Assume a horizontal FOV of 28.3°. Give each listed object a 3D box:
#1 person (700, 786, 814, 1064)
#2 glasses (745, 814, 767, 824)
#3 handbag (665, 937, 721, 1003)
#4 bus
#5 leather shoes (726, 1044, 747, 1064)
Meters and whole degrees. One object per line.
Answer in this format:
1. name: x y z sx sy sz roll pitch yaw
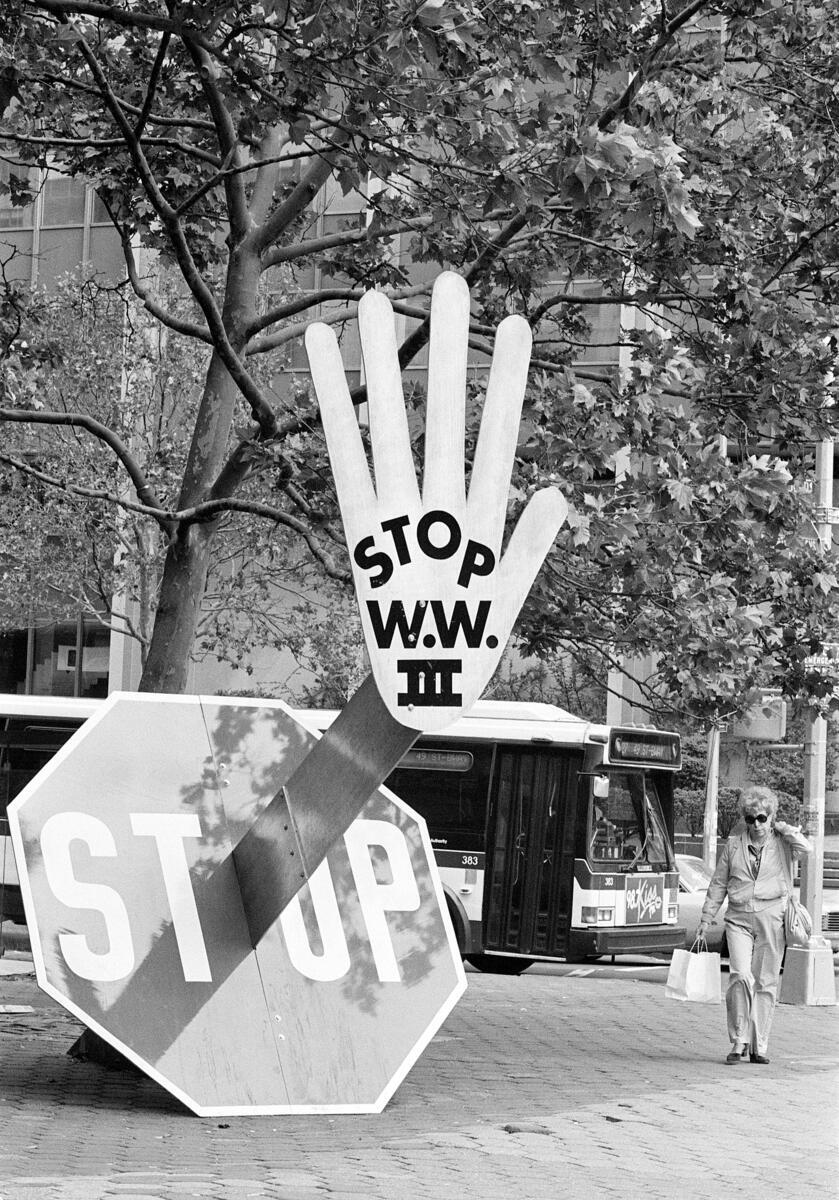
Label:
1. person: 1.971 1.944 9.950 0.619 1.662 0.705 2 -9 11
2. glasses: 1.986 1.313 9.919 0.116 0.066 0.106 2 -9 11
3. handbag: 1.634 2.271 10.114 0.334 0.341 0.260 2 5 -2
4. bus: -2.148 2.269 18.724 9.605 2.965 2.845 -1 -4 27
5. leather shoes: 1.886 2.742 9.993 0.060 0.070 0.229 0 1 5
